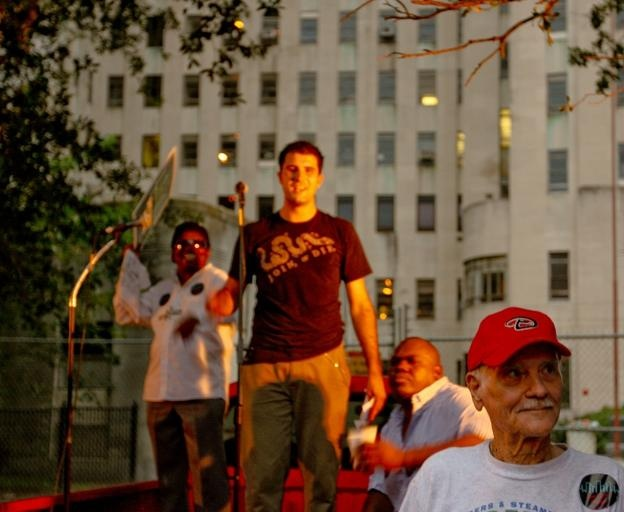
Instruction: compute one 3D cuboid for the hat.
[{"bbox_3d":[0.966,0.379,8.434,0.411,0.321,0.577,-7,-10,-13],"label":"hat"}]
